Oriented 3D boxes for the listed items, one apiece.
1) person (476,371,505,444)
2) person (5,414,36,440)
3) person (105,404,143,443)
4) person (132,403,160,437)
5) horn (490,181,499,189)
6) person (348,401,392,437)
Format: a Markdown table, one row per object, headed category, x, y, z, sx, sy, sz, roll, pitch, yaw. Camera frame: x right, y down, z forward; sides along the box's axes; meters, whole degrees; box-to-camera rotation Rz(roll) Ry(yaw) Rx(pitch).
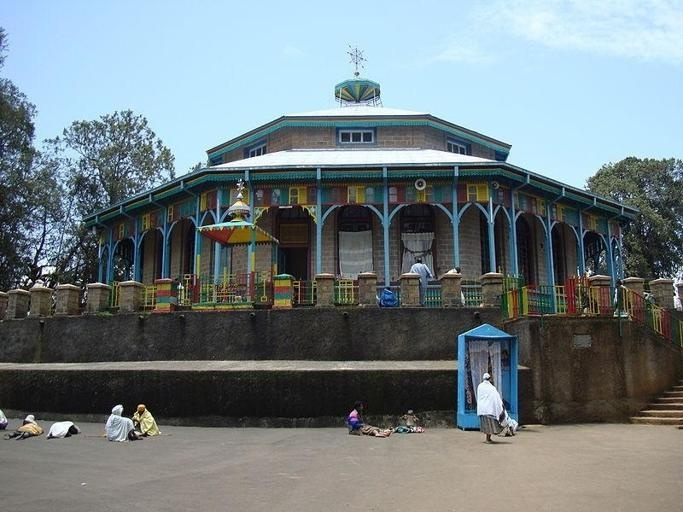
| category | x | y | z | sx | sy | sz | roll | pitch | yaw |
| --- | --- | --- | --- | --- | --- | --- | --- | --- | --- |
| person | 3.356 | 3.416 | 13.777 | 0.554 | 1.425 | 1.241 | -2 | -5 | 14 |
| person | -7.736 | 4.136 | 14.713 | 0.770 | 0.426 | 1.032 | -1 | -5 | 7 |
| person | -5.310 | 3.993 | 14.611 | 0.730 | 0.824 | 0.780 | 3 | -13 | -20 |
| person | -4.915 | 4.069 | 15.094 | 0.671 | 0.748 | 0.618 | -3 | -1 | 33 |
| horn | 5.519 | -2.543 | 21.924 | 0.239 | 0.270 | 0.085 | 2 | 8 | -8 |
| person | 0.627 | 3.927 | 14.692 | 0.918 | 0.720 | 1.377 | 2 | -5 | -31 |
